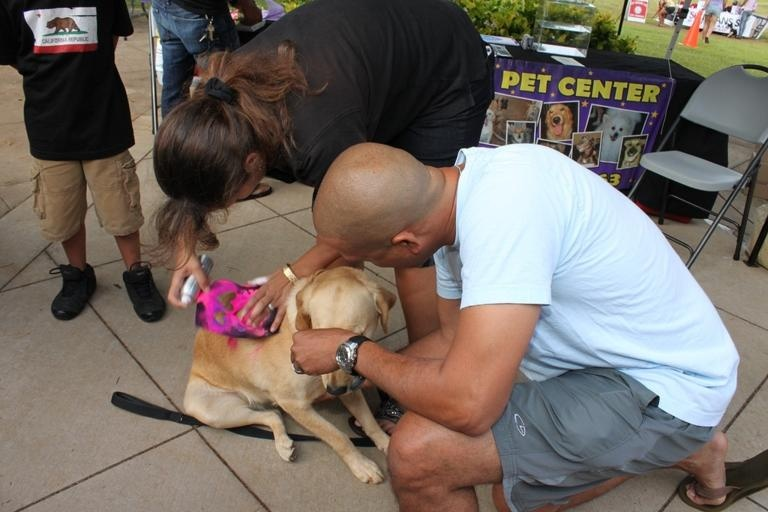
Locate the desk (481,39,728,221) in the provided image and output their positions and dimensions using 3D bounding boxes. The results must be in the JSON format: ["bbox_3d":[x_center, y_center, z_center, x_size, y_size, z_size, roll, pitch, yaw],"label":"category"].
[{"bbox_3d":[2.077,-1.481,6.008,2.386,1.231,1.838,19,32,-6],"label":"desk"}]

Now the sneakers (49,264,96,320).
[{"bbox_3d":[-2.215,0.267,3.940,0.176,0.272,0.454,0,55,5],"label":"sneakers"}]

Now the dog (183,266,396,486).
[{"bbox_3d":[-0.569,0.609,3.333,1.364,1.100,0.753,14,20,21],"label":"dog"}]
